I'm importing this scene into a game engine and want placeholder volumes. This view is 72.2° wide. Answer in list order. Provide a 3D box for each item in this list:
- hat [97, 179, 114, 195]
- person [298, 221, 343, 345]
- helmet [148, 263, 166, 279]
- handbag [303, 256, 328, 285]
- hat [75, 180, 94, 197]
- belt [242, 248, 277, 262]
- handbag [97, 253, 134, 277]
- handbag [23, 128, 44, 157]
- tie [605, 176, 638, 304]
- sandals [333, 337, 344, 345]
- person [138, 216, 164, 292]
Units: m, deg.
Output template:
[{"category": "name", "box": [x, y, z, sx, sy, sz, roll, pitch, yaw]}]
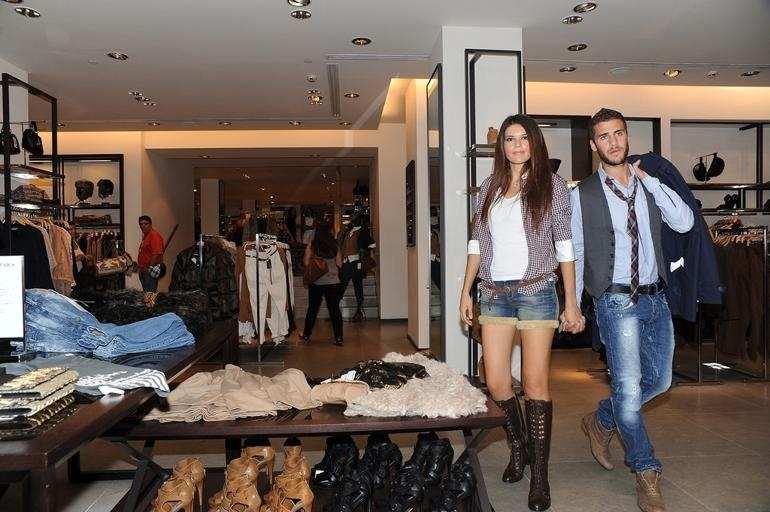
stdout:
[{"category": "hat", "box": [-5.271, -1.311, 9.976, 0.293, 0.278, 0.266, -2, 17, -19]}, {"category": "person", "box": [-0.959, 0.406, 7.777, 0.641, 1.799, 0.819, -4, 7, -11]}, {"category": "helmet", "box": [-3.339, 0.222, 7.653, 0.202, 0.256, 0.123, -1, -10, -3]}, {"category": "handbag", "box": [-0.981, 0.192, 7.500, 0.294, 0.368, 0.157, -25, 25, 21]}, {"category": "hat", "box": [-5.580, -1.248, 9.770, 0.357, 0.320, 0.254, 3, 3, 10]}, {"category": "belt", "box": [-1.596, -0.039, 6.792, 0.411, 0.162, 0.139, -5, 7, -23]}, {"category": "handbag", "box": [-4.479, 0.161, 8.801, 0.319, 0.351, 0.859, -2, 7, 7]}, {"category": "handbag", "box": [-3.985, -1.304, 5.936, 0.183, 0.301, 0.212, -7, 8, -32]}, {"category": "tie", "box": [1.480, -0.110, 3.292, 0.198, 0.765, 0.209, 0, 8, 22]}, {"category": "sandals", "box": [-0.679, 1.225, 7.648, 0.132, 0.138, 0.343, 0, 2, -1]}, {"category": "person", "box": [-3.739, -0.015, 8.368, 0.394, 1.240, 1.928, -6, 8, -25]}]
